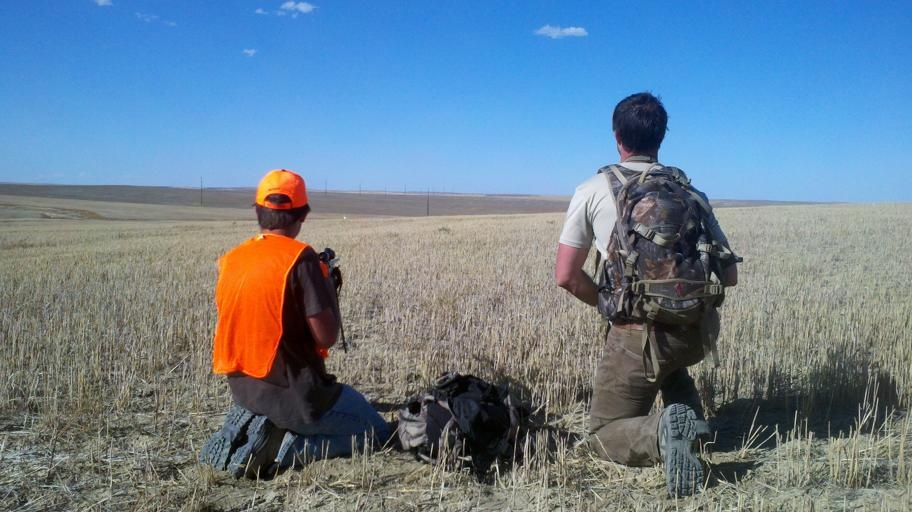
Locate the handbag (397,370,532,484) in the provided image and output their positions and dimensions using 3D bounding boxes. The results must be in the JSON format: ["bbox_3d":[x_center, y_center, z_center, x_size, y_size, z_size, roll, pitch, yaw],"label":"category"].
[{"bbox_3d":[0.023,1.960,7.212,1.098,0.586,1.299,-17,8,-29],"label":"handbag"}]

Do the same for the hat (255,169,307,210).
[{"bbox_3d":[-2.076,-0.835,6.974,0.634,0.441,0.859,0,9,-17],"label":"hat"}]
